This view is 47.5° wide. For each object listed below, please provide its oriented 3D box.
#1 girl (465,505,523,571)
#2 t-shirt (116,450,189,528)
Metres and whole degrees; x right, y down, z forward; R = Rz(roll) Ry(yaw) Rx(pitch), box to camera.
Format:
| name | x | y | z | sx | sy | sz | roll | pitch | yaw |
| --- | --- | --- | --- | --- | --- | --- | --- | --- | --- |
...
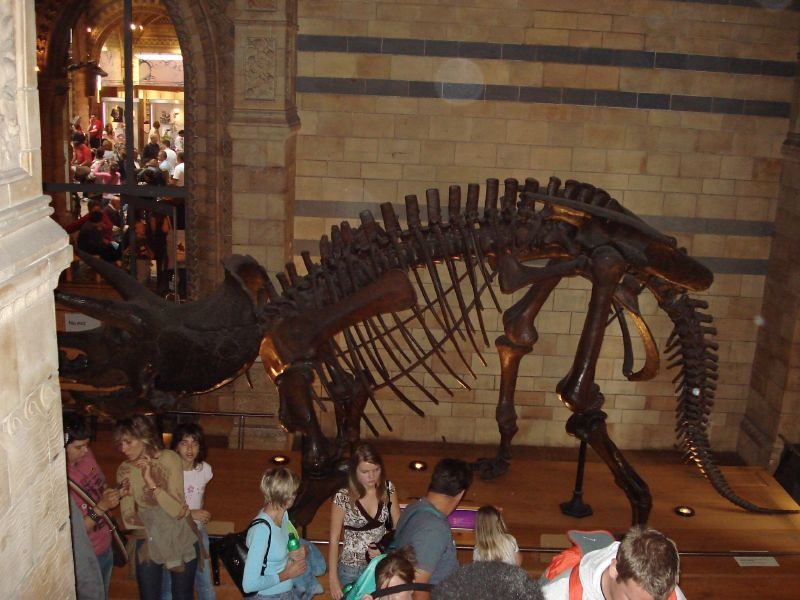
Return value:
| name | x | y | z | sx | sy | sz | roll | pitch | yaw |
| --- | --- | --- | --- | --- | --- | --- | --- | --- | --- |
| girl | 0.681 | 1.708 | 6.619 | 0.543 | 0.434 | 0.416 | 2 | 9 | 4 |
| t-shirt | -1.835 | 1.365 | 6.845 | 0.511 | 0.565 | 0.394 | 9 | 15 | 32 |
